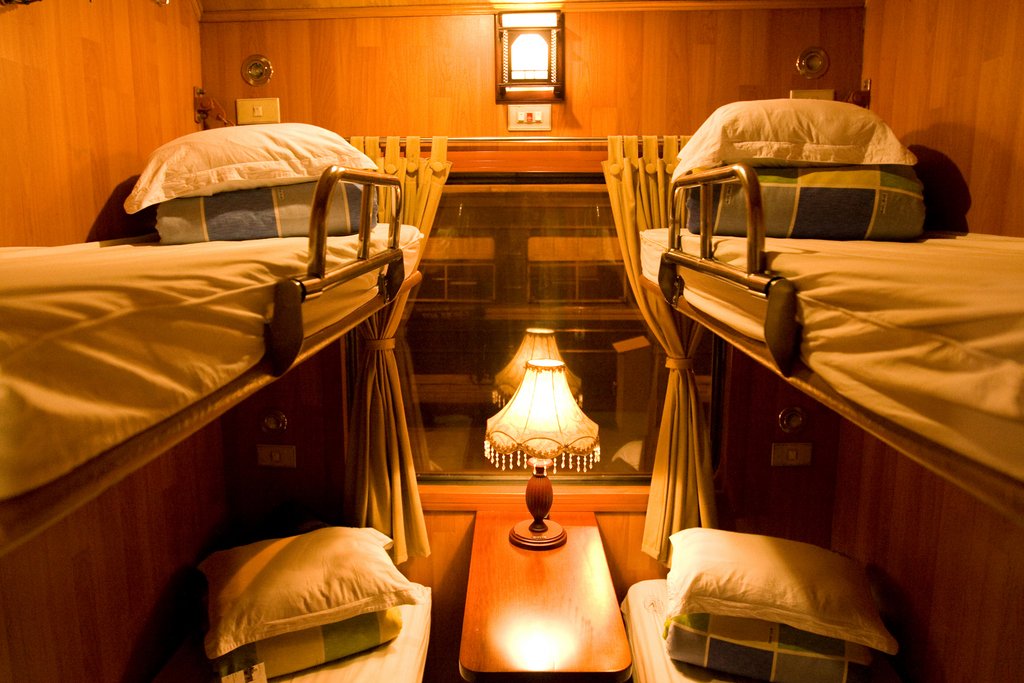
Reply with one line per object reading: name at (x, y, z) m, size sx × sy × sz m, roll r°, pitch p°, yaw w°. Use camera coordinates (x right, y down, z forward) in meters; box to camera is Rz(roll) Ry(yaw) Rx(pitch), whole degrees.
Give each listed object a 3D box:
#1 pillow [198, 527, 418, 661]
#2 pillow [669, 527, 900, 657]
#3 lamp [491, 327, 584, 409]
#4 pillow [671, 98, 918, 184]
pillow at (-0.915, 1.054, 3.248) m, size 0.615 × 0.184 × 0.604 m, roll -4°, pitch 0°, yaw -29°
pillow at (1.116, 1.035, 3.211) m, size 0.624 × 0.174 × 0.619 m, roll 7°, pitch 5°, yaw 9°
lamp at (0.113, 0.134, 3.987) m, size 0.420 × 0.340 × 0.424 m, roll 0°, pitch 9°, yaw 1°
pillow at (1.082, -0.775, 2.852) m, size 0.796 × 0.241 × 0.258 m, roll -1°, pitch 16°, yaw 1°
